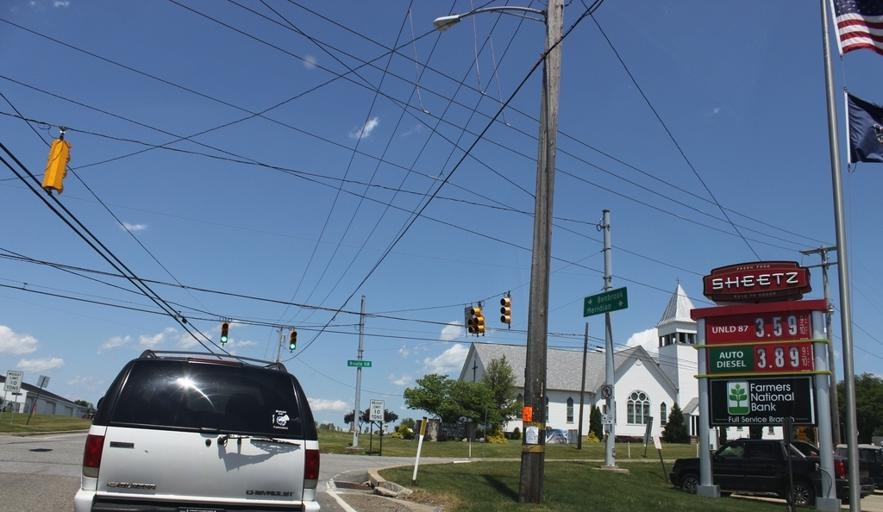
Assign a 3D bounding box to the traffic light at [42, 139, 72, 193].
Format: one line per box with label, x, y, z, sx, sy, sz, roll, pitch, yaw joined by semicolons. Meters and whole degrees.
traffic light;-12.774;-3.078;22.299;0.601;2.032;1.152;10;-13;-31
